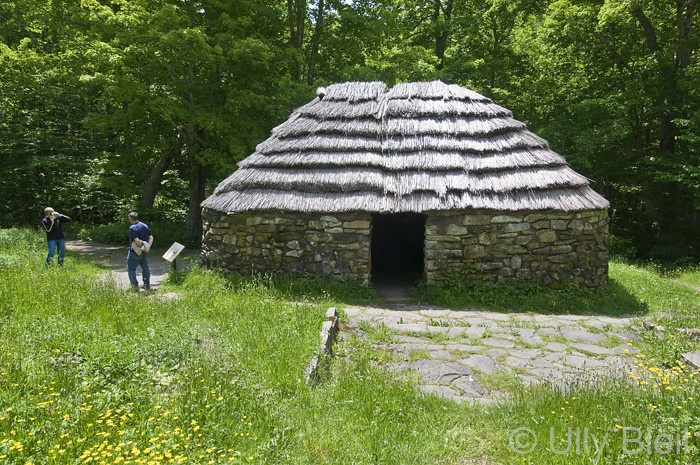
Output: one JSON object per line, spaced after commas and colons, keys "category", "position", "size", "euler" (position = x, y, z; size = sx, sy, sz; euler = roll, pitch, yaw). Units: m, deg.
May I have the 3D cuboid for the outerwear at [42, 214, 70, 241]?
{"category": "outerwear", "position": [-9.461, -0.190, 18.767], "size": [0.660, 0.821, 0.890], "euler": [2, 3, -28]}

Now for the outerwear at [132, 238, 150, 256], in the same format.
{"category": "outerwear", "position": [-6.069, 0.383, 16.903], "size": [0.474, 0.476, 0.206], "euler": [36, -10, -9]}
